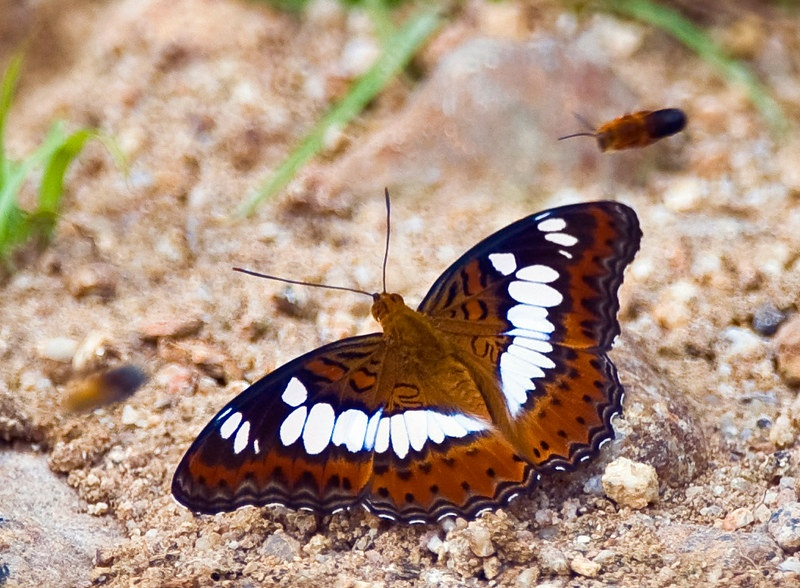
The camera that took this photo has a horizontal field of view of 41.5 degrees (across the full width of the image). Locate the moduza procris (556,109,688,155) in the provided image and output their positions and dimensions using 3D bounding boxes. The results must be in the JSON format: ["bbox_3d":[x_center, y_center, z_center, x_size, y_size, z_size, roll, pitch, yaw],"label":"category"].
[{"bbox_3d":[0.764,-0.557,3.643,0.311,0.073,0.134,-7,61,10],"label":"moduza procris"}]
